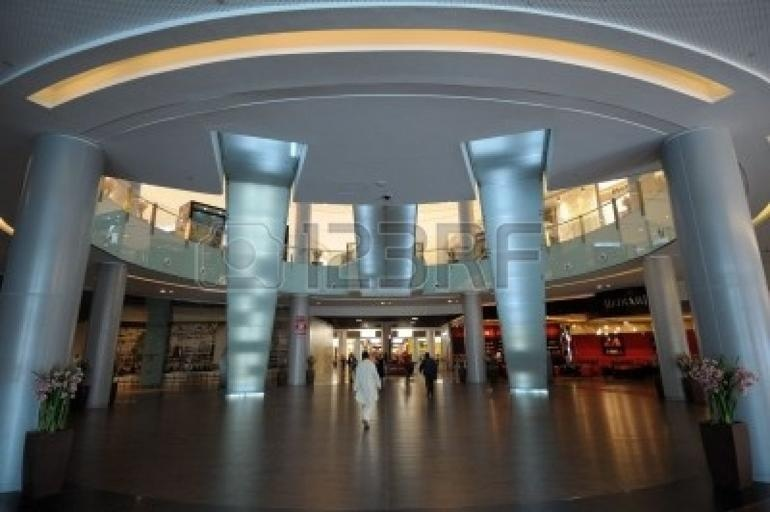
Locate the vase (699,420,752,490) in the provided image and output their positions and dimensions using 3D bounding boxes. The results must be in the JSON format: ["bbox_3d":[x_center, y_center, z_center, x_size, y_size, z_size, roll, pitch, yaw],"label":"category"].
[{"bbox_3d":[5.735,3.331,7.512,0.666,1.037,0.672,-7,-17,24],"label":"vase"}]

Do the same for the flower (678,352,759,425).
[{"bbox_3d":[6.066,2.427,8.077,0.901,1.089,1.112,2,-14,21],"label":"flower"}]
